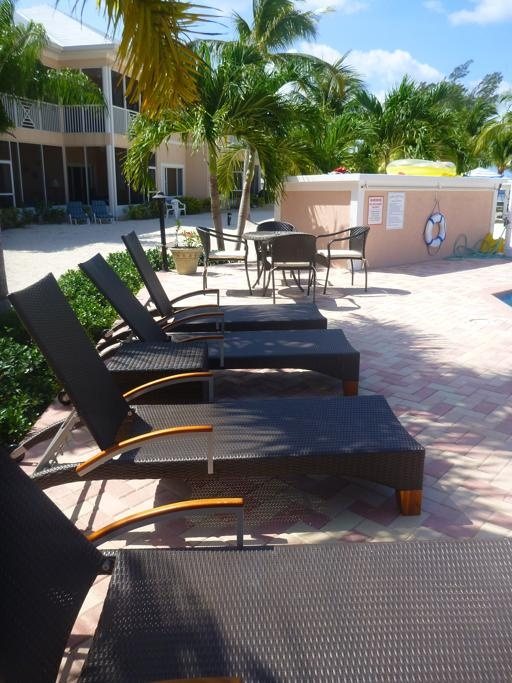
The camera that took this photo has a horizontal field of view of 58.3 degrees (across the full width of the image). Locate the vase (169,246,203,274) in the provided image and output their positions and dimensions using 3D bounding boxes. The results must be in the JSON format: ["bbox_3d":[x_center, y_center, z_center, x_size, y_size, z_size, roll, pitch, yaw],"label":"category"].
[{"bbox_3d":[-1.434,-1.684,9.562,0.633,0.442,0.603,-2,12,-11],"label":"vase"}]

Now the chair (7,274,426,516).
[{"bbox_3d":[-0.121,0.240,2.260,1.867,1.023,1.082,-2,11,-1],"label":"chair"}]

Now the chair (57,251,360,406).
[{"bbox_3d":[-0.243,-0.176,3.722,1.936,1.043,1.199,-1,13,-2],"label":"chair"}]

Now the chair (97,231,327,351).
[{"bbox_3d":[-0.326,-0.472,4.461,1.994,1.017,1.153,-2,15,-5],"label":"chair"}]
